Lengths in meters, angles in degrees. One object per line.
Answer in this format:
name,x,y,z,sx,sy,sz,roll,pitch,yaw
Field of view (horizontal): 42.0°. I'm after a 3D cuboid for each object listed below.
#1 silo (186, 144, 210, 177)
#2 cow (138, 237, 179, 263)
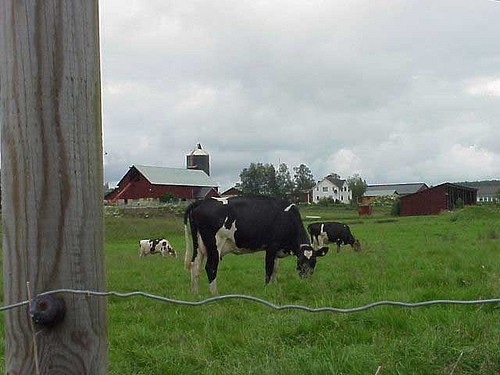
silo,-8.033,-3.746,96.656,2.479,4.609,3.312,0,3,13
cow,-3.166,2.141,22.880,1.362,0.787,1.850,-2,0,1
